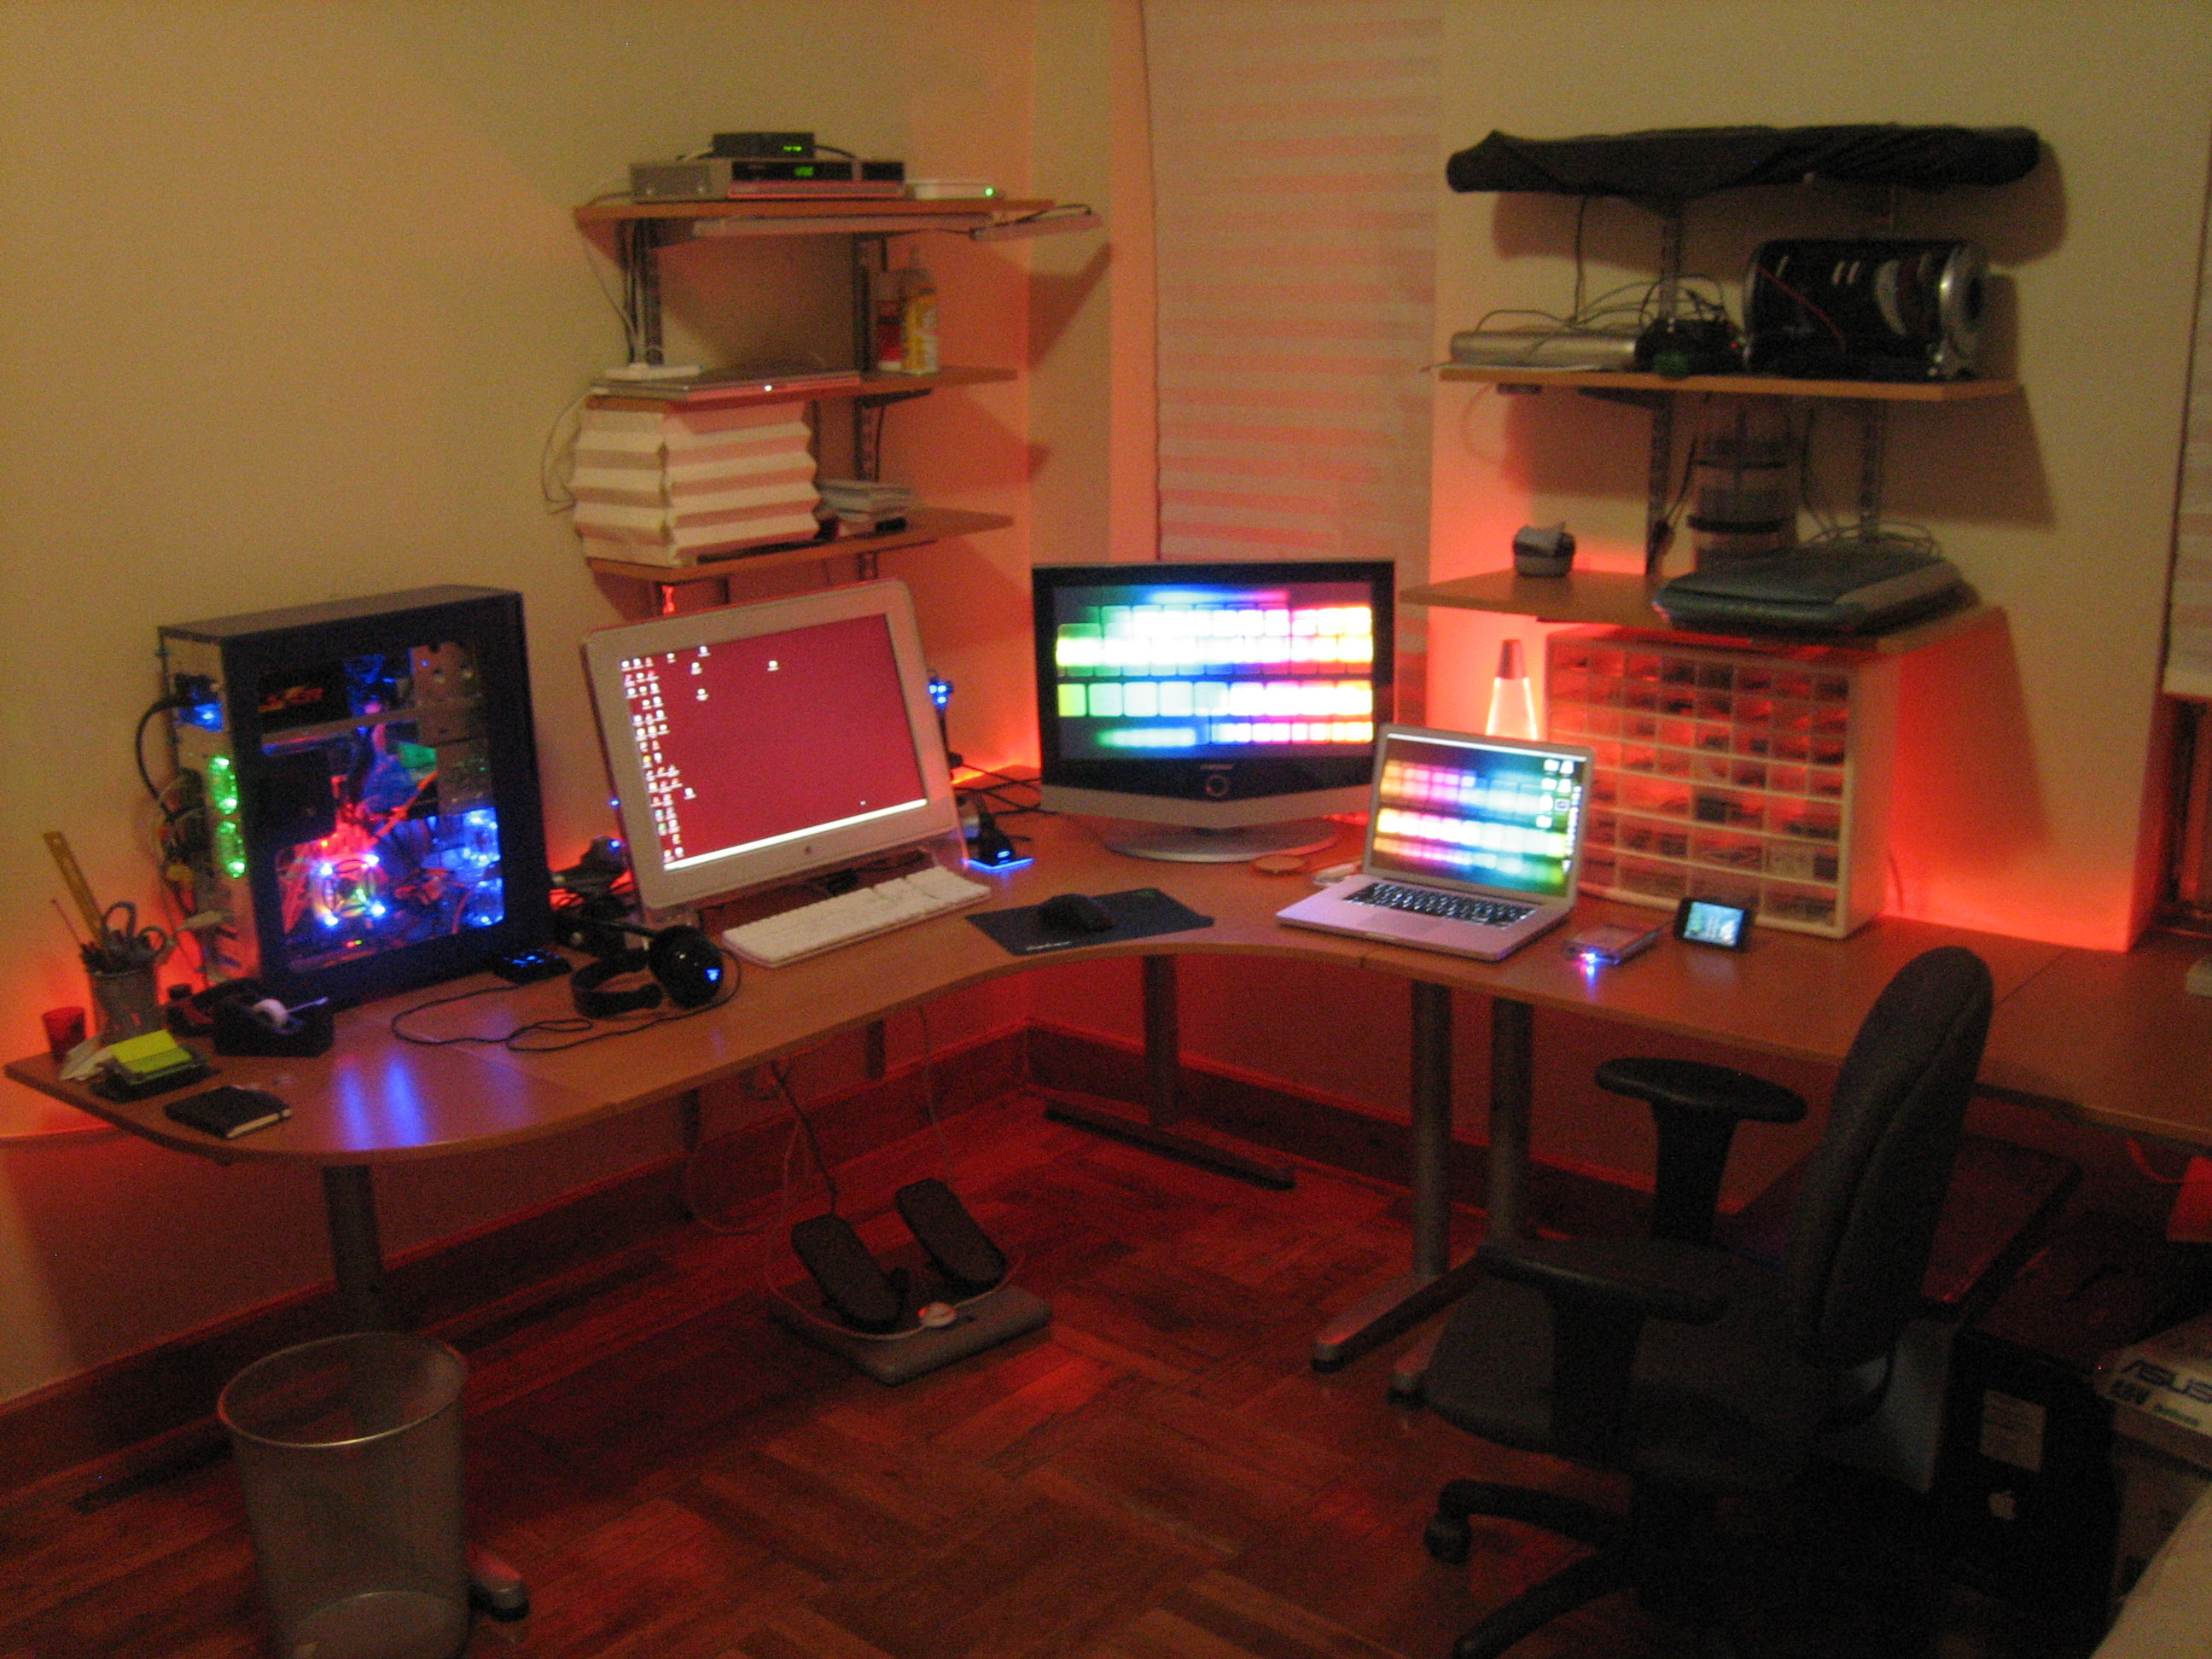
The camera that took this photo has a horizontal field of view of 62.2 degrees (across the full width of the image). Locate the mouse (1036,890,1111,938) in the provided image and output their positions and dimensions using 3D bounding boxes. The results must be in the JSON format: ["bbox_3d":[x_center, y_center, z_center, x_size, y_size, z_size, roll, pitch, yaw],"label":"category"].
[{"bbox_3d":[-0.068,0.158,3.488,0.123,0.040,0.068,11,26,36],"label":"mouse"}]

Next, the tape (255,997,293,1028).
[{"bbox_3d":[-1.383,0.304,3.033,0.043,0.039,0.070,-18,24,-40],"label":"tape"}]

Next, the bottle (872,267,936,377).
[{"bbox_3d":[-0.462,-1.126,4.095,0.159,0.204,0.148,1,20,0],"label":"bottle"}]

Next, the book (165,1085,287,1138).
[{"bbox_3d":[-1.379,0.432,2.871,0.149,0.032,0.194,-16,22,-37],"label":"book"}]

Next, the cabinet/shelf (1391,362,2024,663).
[{"bbox_3d":[1.103,-0.659,3.503,1.094,0.460,0.493,6,20,24],"label":"cabinet/shelf"}]

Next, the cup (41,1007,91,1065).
[{"bbox_3d":[-1.762,0.341,3.100,0.060,0.085,0.107,-13,21,-30],"label":"cup"}]

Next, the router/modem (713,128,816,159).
[{"bbox_3d":[-0.714,-1.406,3.753,0.197,0.079,0.406,-5,18,-10],"label":"router/modem"}]

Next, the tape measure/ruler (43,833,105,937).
[{"bbox_3d":[-1.806,0.094,3.190,0.049,0.194,0.048,-39,-19,19],"label":"tape measure/ruler"}]

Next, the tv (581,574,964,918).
[{"bbox_3d":[-0.687,-0.147,3.648,0.663,0.473,0.074,-17,5,-37],"label":"tv"}]

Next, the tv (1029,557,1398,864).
[{"bbox_3d":[0.250,-0.259,3.990,0.775,0.588,0.335,0,7,12],"label":"tv"}]

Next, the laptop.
[{"bbox_3d":[0.630,0.016,3.493,0.518,0.293,0.474,6,20,27],"label":"laptop"}]

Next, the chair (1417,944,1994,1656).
[{"bbox_3d":[0.971,0.778,2.941,0.842,1.179,0.855,9,18,29],"label":"chair"}]

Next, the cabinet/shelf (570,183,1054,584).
[{"bbox_3d":[-0.637,-0.920,3.945,0.373,0.832,1.007,16,24,35],"label":"cabinet/shelf"}]

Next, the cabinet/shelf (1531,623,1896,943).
[{"bbox_3d":[1.173,-0.081,3.475,0.573,0.472,0.207,8,17,35],"label":"cabinet/shelf"}]

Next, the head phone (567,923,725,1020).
[{"bbox_3d":[-0.828,0.259,3.244,0.172,0.120,0.237,-8,0,-44],"label":"head phone"}]
